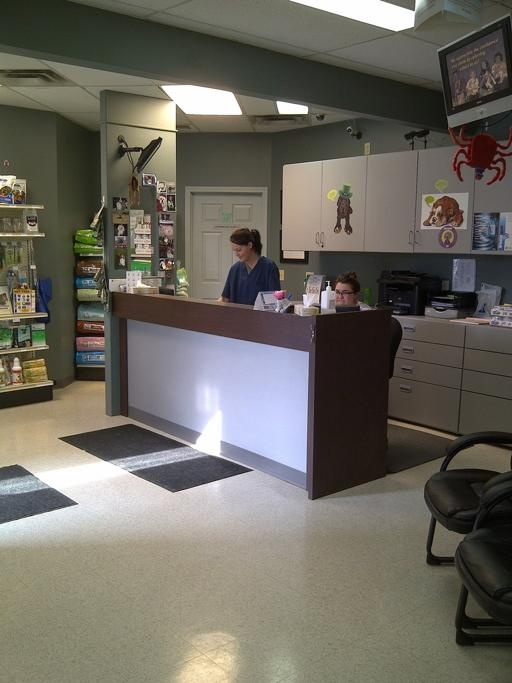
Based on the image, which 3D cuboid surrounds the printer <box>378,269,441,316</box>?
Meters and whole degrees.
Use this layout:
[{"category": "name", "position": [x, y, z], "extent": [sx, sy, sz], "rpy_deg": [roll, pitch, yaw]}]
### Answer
[{"category": "printer", "position": [1.425, -0.511, 4.807], "extent": [0.438, 0.437, 0.437], "rpy_deg": [-13, 18, -41]}]

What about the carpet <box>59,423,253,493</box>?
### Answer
[{"category": "carpet", "position": [-0.777, 0.815, 3.803], "extent": [1.538, 0.067, 0.656], "rpy_deg": [4, 6, 44]}]

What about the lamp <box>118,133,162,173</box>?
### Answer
[{"category": "lamp", "position": [-0.997, -1.676, 4.594], "extent": [0.454, 0.318, 0.259], "rpy_deg": [-2, 5, -35]}]

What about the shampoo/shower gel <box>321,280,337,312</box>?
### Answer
[{"category": "shampoo/shower gel", "position": [0.430, -0.273, 3.111], "extent": [0.091, 0.175, 0.188], "rpy_deg": [1, 4, 7]}]

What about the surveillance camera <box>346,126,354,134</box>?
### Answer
[{"category": "surveillance camera", "position": [1.002, -2.304, 5.573], "extent": [0.076, 0.114, 0.039], "rpy_deg": [-2, -3, -6]}]

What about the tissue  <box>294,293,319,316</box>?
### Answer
[{"category": "tissue ", "position": [0.302, -0.214, 3.017], "extent": [0.129, 0.135, 0.128], "rpy_deg": [2, 4, -42]}]

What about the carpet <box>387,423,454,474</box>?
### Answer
[{"category": "carpet", "position": [1.181, 0.811, 3.998], "extent": [0.499, 0.024, 0.454], "rpy_deg": [-4, 8, -28]}]

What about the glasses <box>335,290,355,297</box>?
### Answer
[{"category": "glasses", "position": [0.663, -0.363, 3.856], "extent": [0.128, 0.050, 0.051], "rpy_deg": [1, 4, 13]}]

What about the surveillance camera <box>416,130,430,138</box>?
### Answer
[{"category": "surveillance camera", "position": [1.558, -1.952, 4.854], "extent": [0.096, 0.069, 0.073], "rpy_deg": [27, 14, 0]}]

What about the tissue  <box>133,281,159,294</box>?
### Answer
[{"category": "tissue ", "position": [-0.971, -0.483, 4.590], "extent": [0.210, 0.109, 0.340], "rpy_deg": [-1, 4, -14]}]

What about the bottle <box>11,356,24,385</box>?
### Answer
[{"category": "bottle", "position": [-2.403, 0.287, 5.223], "extent": [0.123, 0.268, 0.121], "rpy_deg": [0, 4, 0]}]

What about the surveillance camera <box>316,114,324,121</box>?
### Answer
[{"category": "surveillance camera", "position": [0.684, -2.415, 5.562], "extent": [0.060, 0.062, 0.062], "rpy_deg": [2, 4, 24]}]
